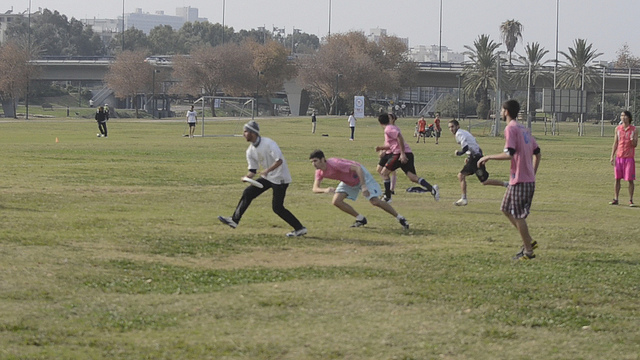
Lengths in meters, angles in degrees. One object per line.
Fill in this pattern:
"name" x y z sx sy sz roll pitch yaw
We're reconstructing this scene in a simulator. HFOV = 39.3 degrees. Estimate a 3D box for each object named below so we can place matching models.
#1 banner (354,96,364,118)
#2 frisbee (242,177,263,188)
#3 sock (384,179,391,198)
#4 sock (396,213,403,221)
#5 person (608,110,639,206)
"banner" 4.132 -7.770 94.645 0.993 2.042 2.811 2 6 0
"frisbee" -1.955 0.068 26.465 0.683 0.167 0.156 24 46 8
"sock" 2.292 0.281 30.245 0.218 0.600 0.429 2 6 -2
"sock" 2.401 1.119 27.089 0.277 0.103 0.302 1 7 4
"person" 10.251 -0.728 30.180 0.830 3.213 1.460 4 6 18
